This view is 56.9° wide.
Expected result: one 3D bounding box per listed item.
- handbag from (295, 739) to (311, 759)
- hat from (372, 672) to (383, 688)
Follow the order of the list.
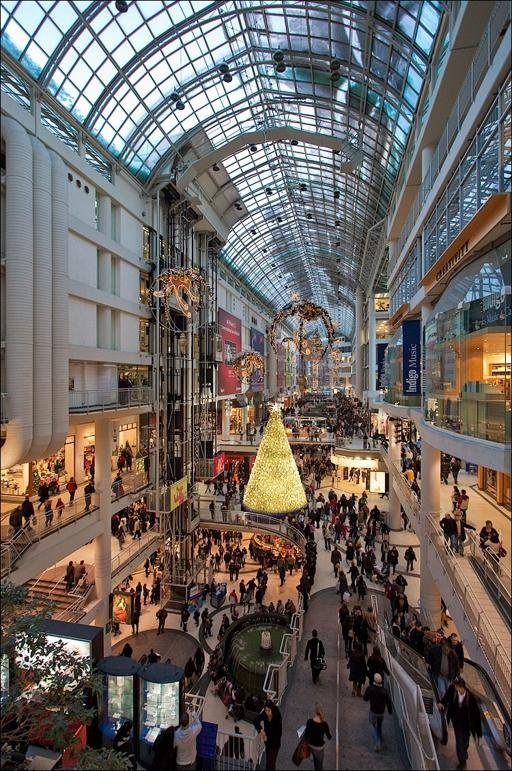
[{"bbox_3d":[0.612,4.780,6.176,0.209,0.198,0.154,-1,-3,4],"label":"handbag"},{"bbox_3d":[1.694,4.146,6.611,0.168,0.049,0.184,0,10,24],"label":"hat"}]
